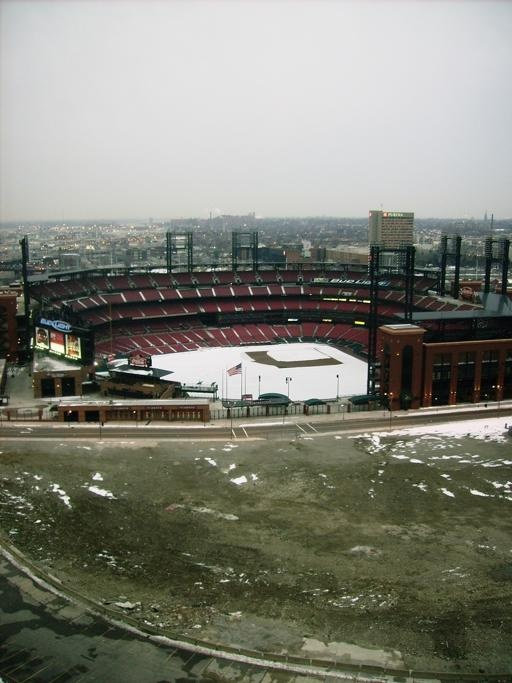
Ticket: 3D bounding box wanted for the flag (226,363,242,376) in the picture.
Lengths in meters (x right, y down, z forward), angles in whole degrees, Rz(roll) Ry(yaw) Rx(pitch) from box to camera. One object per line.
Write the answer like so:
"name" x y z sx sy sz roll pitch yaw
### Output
"flag" -2.663 3.288 78.722 2.149 1.817 0.191 3 26 0
